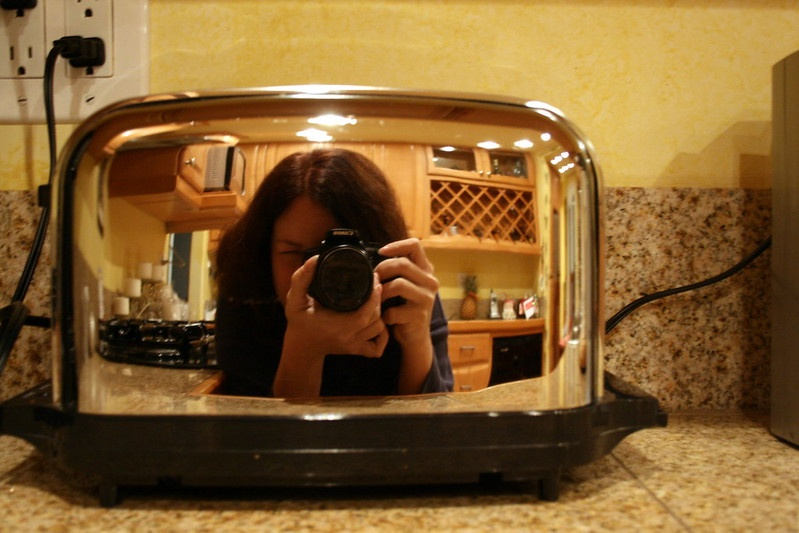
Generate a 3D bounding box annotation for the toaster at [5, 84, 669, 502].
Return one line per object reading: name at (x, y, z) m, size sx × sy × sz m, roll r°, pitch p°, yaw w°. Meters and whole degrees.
toaster at (-0.075, 0.009, 0.883) m, size 0.943 × 0.468 × 0.442 m, roll 0°, pitch -2°, yaw 0°
